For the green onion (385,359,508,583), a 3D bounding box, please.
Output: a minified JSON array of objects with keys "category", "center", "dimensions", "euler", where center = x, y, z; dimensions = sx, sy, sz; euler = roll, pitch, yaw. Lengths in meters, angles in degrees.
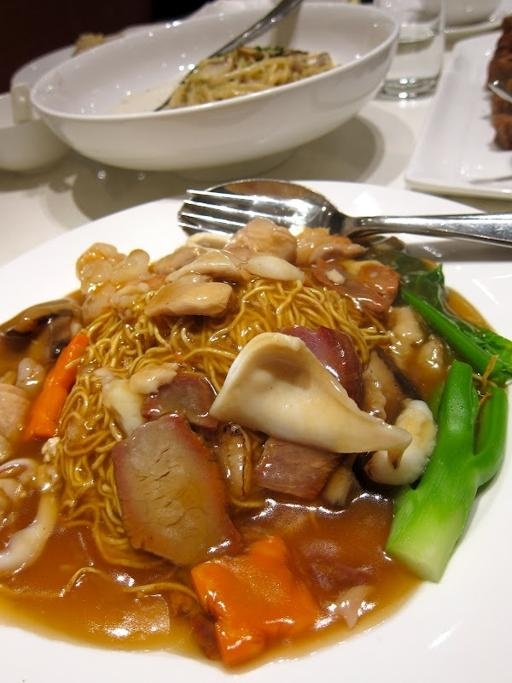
[{"category":"green onion","center":[0.471,0.295,1.540],"dimensions":[0.210,0.088,0.556],"euler":[15,51,27]}]
